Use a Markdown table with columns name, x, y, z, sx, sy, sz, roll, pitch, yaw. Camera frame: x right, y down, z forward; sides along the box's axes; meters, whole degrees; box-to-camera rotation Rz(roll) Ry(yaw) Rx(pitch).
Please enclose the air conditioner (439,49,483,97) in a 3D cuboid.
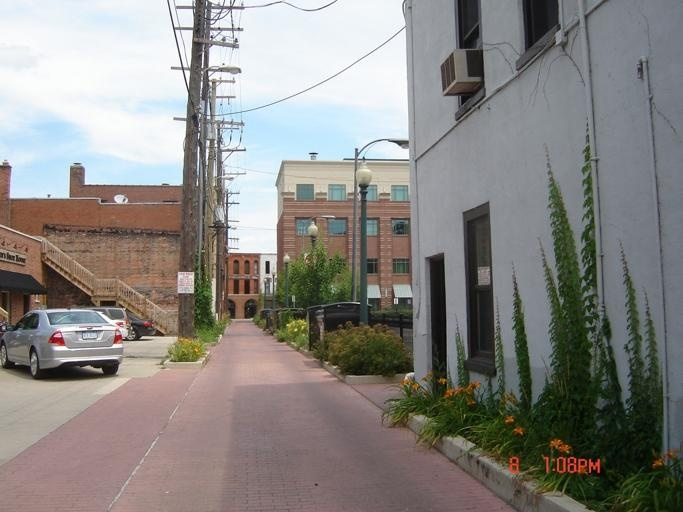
| name | x | y | z | sx | sy | sz | roll | pitch | yaw |
| --- | --- | --- | --- | --- | --- | --- | --- | --- | --- |
| air conditioner | 1.853 | -2.758 | 11.049 | 0.531 | 0.703 | 1.028 | -1 | -2 | -8 |
